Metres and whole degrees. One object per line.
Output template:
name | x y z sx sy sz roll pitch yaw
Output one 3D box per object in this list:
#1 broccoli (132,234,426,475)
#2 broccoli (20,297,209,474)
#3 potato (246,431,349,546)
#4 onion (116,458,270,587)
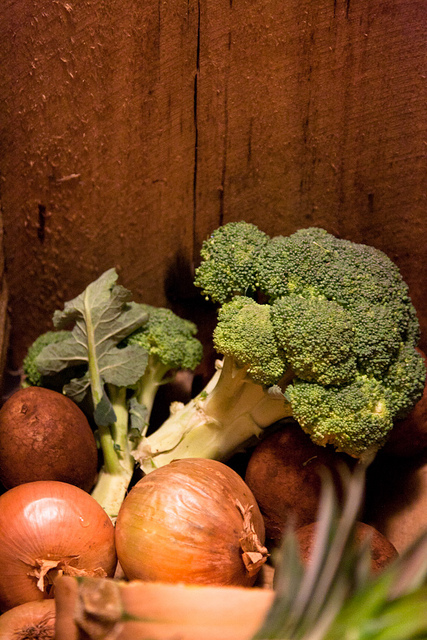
broccoli | 0.124 0.094 1.139 0.507 0.465 0.280 10 35 11
broccoli | -0.199 0.102 1.276 0.319 0.187 0.368 24 67 2
potato | 0.152 0.310 1.132 0.145 0.143 0.164 -5 61 21
onion | -0.024 0.292 1.013 0.224 0.211 0.220 -2 -5 -40
